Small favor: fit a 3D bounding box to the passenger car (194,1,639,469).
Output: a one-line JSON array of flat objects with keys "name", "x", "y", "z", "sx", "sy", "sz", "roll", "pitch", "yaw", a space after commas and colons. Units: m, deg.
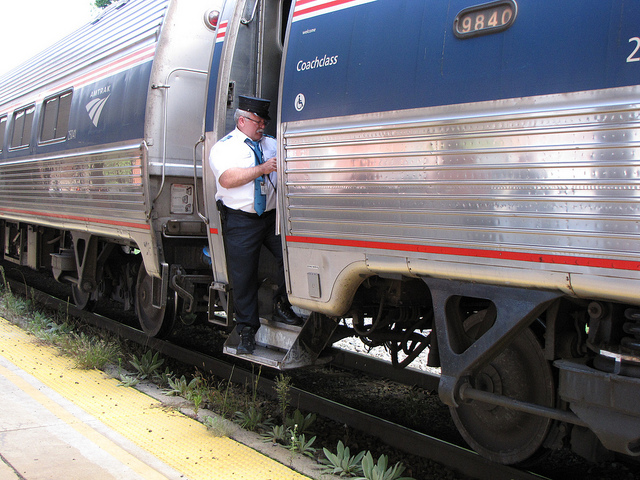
[{"name": "passenger car", "x": 0.483, "y": -0.377, "z": 4.578, "sx": 1.859, "sy": 3.180, "sz": 5.202, "roll": -2, "pitch": 3, "yaw": -35}]
